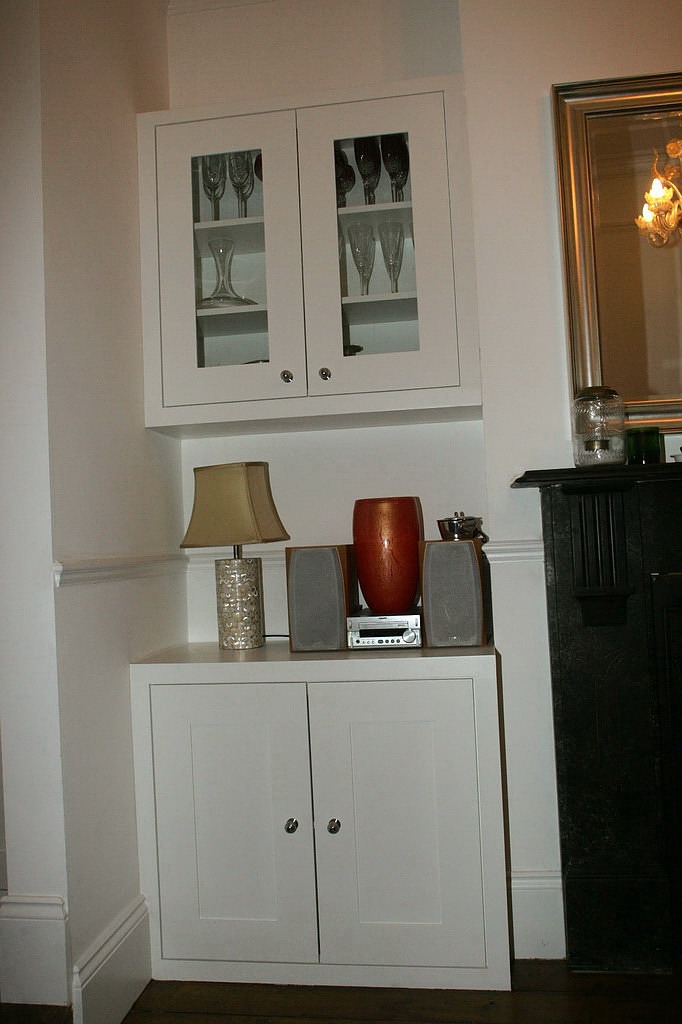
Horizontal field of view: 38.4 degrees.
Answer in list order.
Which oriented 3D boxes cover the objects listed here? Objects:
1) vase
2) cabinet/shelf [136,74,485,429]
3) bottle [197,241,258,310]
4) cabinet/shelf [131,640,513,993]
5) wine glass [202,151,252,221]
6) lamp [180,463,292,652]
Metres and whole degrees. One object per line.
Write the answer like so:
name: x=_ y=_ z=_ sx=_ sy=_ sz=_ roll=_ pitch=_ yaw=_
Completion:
vase: x=0.110 y=0.096 z=2.357 sx=0.166 sy=0.280 sz=0.161 roll=-8 pitch=10 yaw=-35
cabinet/shelf: x=-0.066 y=-0.608 z=2.339 sx=0.757 sy=0.788 sz=0.313 roll=-1 pitch=-1 yaw=7
bottle: x=-0.282 y=-0.572 z=2.465 sx=0.149 sy=0.181 sz=0.152 roll=-2 pitch=-2 yaw=-2
cabinet/shelf: x=-0.034 y=0.685 z=2.105 sx=0.625 sy=0.589 sz=0.255 roll=-1 pitch=-4 yaw=7
wine glass: x=-0.276 y=-0.798 z=2.397 sx=0.153 sy=0.215 sz=0.058 roll=0 pitch=-2 yaw=3
lamp: x=-0.236 y=0.108 z=2.383 sx=0.216 sy=0.395 sz=0.286 roll=-3 pitch=2 yaw=21
